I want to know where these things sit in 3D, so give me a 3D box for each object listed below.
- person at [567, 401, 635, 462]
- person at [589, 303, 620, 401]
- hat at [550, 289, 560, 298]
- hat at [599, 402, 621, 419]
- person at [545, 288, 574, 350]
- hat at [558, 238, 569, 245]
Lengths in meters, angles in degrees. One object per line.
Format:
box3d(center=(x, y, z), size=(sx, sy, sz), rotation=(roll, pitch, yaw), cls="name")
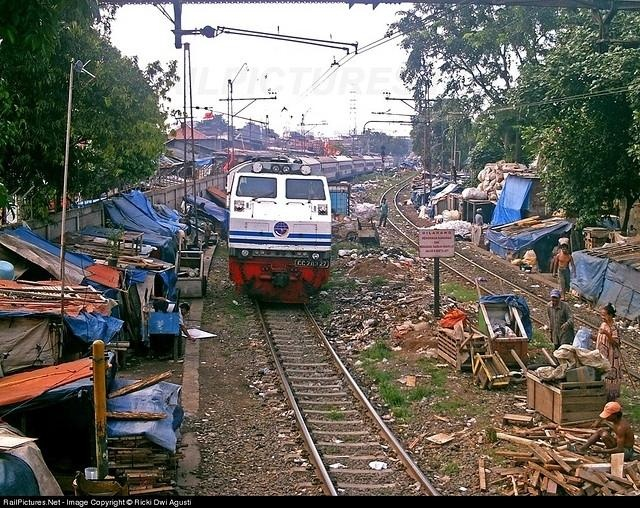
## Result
box3d(center=(4.403, 2.681, 11.065), size=(0.778, 0.832, 1.097), rotation=(4, 7, 34), cls="person")
box3d(center=(5.027, 1.728, 12.554), size=(0.424, 1.766, 0.869), rotation=(3, 6, 21), cls="person")
box3d(center=(4.557, 0.772, 13.962), size=(0.162, 0.140, 0.264), rotation=(-2, -13, 25), cls="hat")
box3d(center=(4.405, 2.382, 10.957), size=(0.339, 0.184, 0.221), rotation=(-16, 8, 2), cls="hat")
box3d(center=(4.690, 1.330, 14.020), size=(0.513, 1.253, 0.729), rotation=(2, 6, 17), cls="person")
box3d(center=(7.937, -0.392, 23.474), size=(0.321, 0.194, 0.519), rotation=(0, 3, 11), cls="hat")
